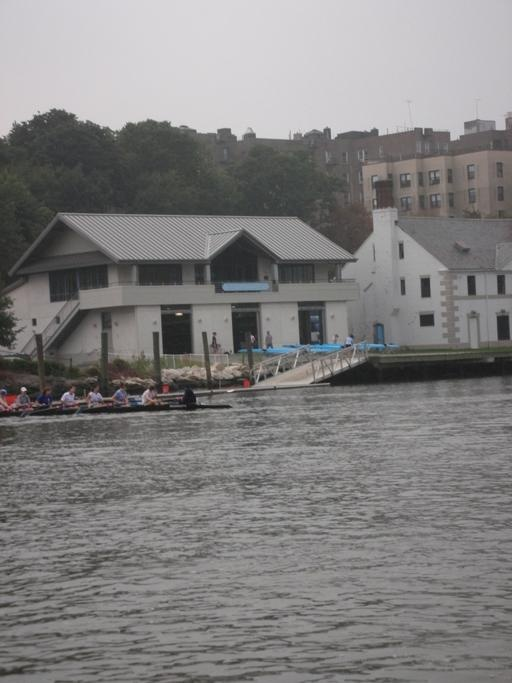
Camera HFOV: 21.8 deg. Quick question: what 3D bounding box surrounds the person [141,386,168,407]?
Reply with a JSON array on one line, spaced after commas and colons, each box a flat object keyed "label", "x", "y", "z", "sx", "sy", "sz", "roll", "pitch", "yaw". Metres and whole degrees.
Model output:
[{"label": "person", "x": -3.482, "y": 1.999, "z": 45.452, "sx": 0.684, "sy": 0.742, "sz": 0.740, "roll": -3, "pitch": 5, "yaw": 5}]

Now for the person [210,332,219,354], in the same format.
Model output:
[{"label": "person", "x": -2.134, "y": 0.086, "z": 72.050, "sx": 0.429, "sy": 1.047, "sz": 1.706, "roll": -2, "pitch": -1, "yaw": -2}]
